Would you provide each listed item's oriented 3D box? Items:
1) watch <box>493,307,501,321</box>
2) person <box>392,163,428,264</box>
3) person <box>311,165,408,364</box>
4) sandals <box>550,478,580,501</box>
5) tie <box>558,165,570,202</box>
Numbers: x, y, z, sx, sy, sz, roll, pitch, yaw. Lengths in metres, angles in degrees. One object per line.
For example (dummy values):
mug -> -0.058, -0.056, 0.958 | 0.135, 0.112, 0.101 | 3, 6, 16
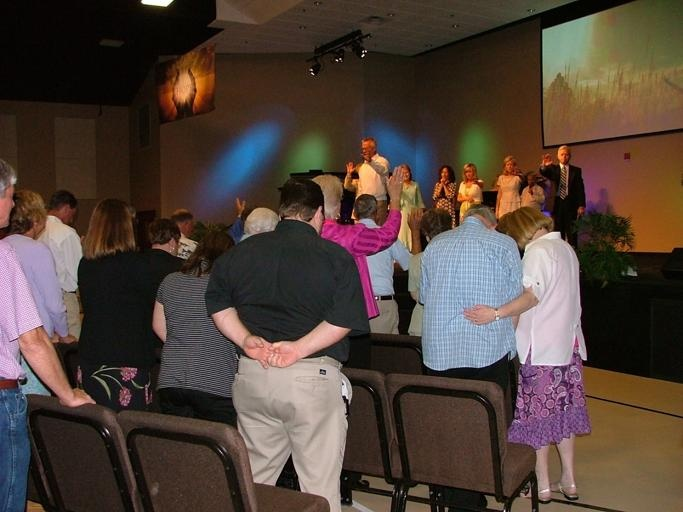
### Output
watch -> 0.804, 0.300, 3.080 | 0.036, 0.061, 0.055 | -5, 29, -3
person -> 1.100, -0.643, 9.475 | 0.440, 1.525, 0.447 | -2, 30, 13
person -> 0.232, 0.326, 4.454 | 0.658, 1.623, 0.429 | -3, 23, -6
sandals -> 1.419, 1.474, 3.775 | 0.083, 0.081, 0.163 | 0, 12, -28
tie -> 3.735, -1.241, 9.973 | 0.160, 0.568, 0.088 | 4, 5, 21
